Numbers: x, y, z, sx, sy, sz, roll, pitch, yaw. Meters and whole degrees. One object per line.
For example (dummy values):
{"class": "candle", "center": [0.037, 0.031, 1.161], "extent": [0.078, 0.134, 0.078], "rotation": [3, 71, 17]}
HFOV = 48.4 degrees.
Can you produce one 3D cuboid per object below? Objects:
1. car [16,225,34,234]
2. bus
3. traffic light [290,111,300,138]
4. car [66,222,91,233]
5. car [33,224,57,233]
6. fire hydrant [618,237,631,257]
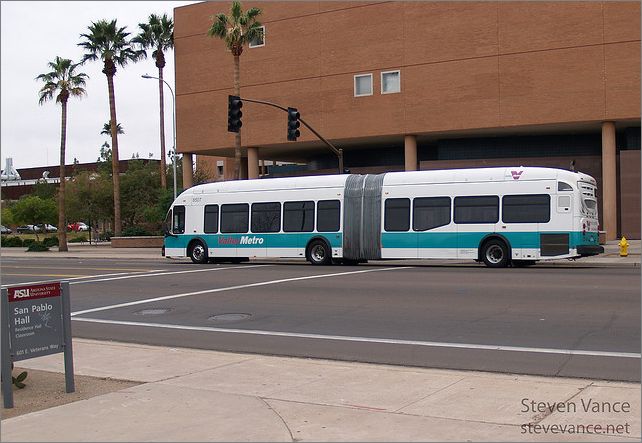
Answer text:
{"class": "car", "center": [-45.655, 1.242, 110.464], "extent": [2.563, 0.883, 1.228], "rotation": [7, 4, 43]}
{"class": "bus", "center": [2.235, -0.105, 29.157], "extent": [17.231, 3.890, 2.497], "rotation": [-1, -1, 21]}
{"class": "traffic light", "center": [-1.157, -4.153, 30.310], "extent": [0.446, 1.285, 0.729], "rotation": [-1, -1, -4]}
{"class": "car", "center": [-35.091, 0.846, 103.457], "extent": [2.508, 1.022, 1.427], "rotation": [-3, -1, 29]}
{"class": "car", "center": [-39.893, 1.001, 103.474], "extent": [2.409, 0.813, 1.140], "rotation": [-2, 2, 9]}
{"class": "fire hydrant", "center": [14.692, 1.264, 34.616], "extent": [0.757, 1.261, 0.535], "rotation": [1, 7, 20]}
